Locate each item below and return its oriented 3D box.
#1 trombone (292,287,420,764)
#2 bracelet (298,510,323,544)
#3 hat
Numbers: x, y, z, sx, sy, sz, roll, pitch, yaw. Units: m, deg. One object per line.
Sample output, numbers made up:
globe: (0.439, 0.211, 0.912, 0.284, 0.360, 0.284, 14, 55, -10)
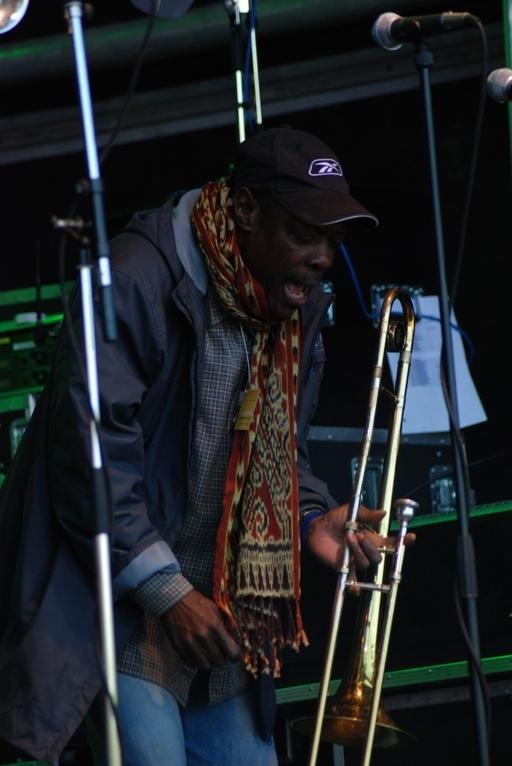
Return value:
trombone: (0.275, 0.346, 2.093, 0.252, 1.052, 0.301, 16, -18, -5)
bracelet: (0.129, 0.336, 2.177, 0.022, 0.069, 0.051, 12, -31, 13)
hat: (0.107, -0.470, 2.117, 0.256, 0.230, 0.398, 6, 6, -40)
